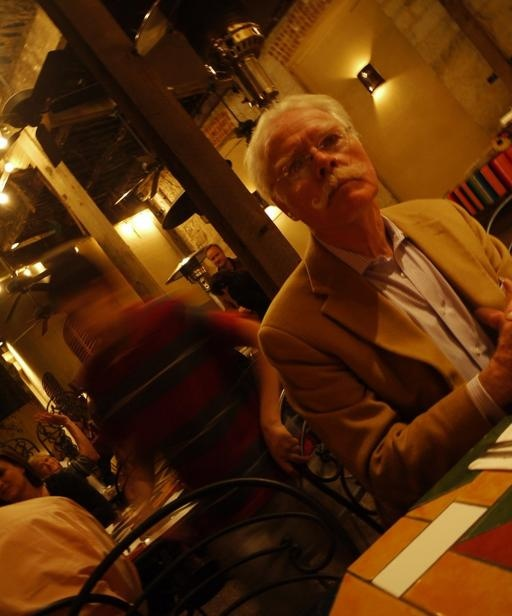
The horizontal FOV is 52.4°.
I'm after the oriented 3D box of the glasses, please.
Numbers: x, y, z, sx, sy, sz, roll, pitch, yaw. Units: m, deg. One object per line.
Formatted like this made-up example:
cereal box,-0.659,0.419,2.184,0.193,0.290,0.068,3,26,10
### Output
glasses,0.210,-0.533,1.788,0.214,0.084,0.203,-13,-33,3
